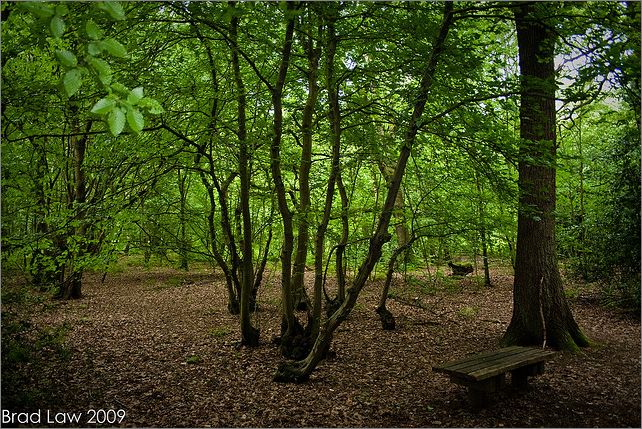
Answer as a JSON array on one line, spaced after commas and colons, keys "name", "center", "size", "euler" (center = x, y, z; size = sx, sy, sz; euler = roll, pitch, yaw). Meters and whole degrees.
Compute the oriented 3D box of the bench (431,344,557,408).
[{"name": "bench", "center": [3.315, 3.145, 10.198], "size": [2.219, 0.774, 0.799], "euler": [-6, 13, -30]}]
